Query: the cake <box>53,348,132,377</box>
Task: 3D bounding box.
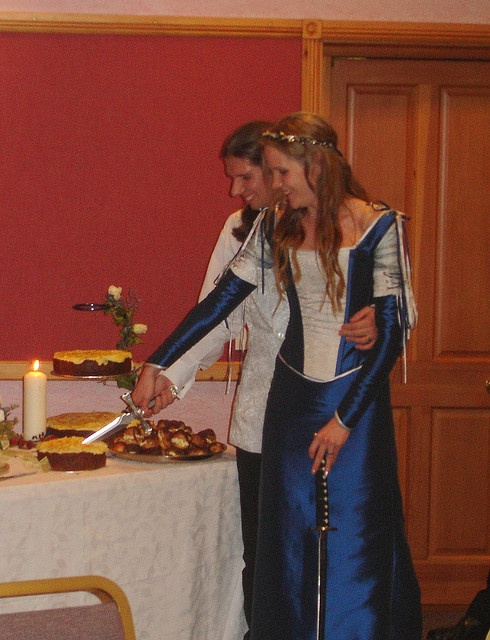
[{"bbox_3d":[-0.486,0.138,2.473,0.239,0.082,0.178,1,-2,6],"label":"cake"}]
